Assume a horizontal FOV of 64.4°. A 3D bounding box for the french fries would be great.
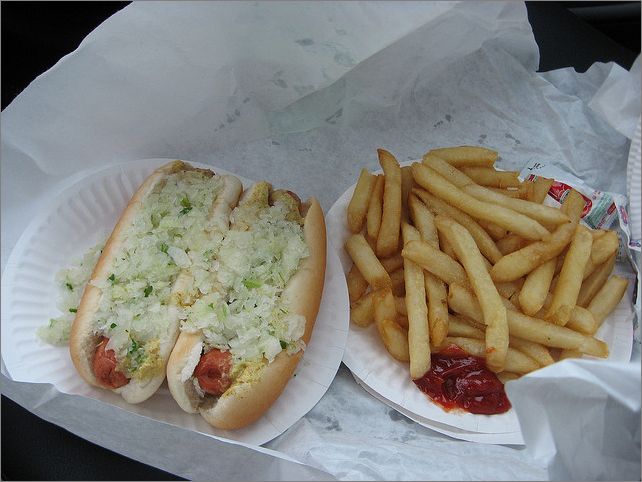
[{"bbox_3d":[0.721,0.082,2.586,1.045,0.357,1.184,-19,71,-7],"label":"french fries"}]
